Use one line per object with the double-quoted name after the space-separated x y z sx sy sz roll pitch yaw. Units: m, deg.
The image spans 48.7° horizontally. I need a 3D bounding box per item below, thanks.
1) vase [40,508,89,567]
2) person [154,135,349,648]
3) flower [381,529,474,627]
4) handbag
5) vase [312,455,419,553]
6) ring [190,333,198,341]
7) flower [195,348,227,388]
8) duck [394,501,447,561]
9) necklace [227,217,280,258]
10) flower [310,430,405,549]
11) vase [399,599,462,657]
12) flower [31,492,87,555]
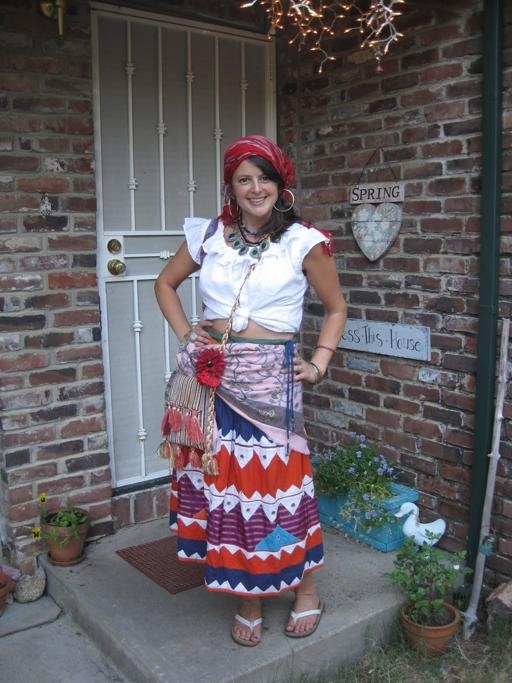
-0.788 0.819 2.354 0.199 0.165 0.188 0 2 7 "vase"
-0.025 0.180 1.781 0.662 1.547 0.503 -1 11 9 "person"
0.605 0.852 2.092 0.312 0.308 0.336 0 12 -3 "flower"
-0.193 0.213 1.705 0.058 0.313 0.253 1 7 -44 "handbag"
0.511 0.643 2.531 0.295 0.240 0.600 -11 16 -40 "vase"
-0.192 -0.015 1.735 0.022 0.010 0.026 7 30 -4 "ring"
-0.134 0.071 1.640 0.106 0.104 0.029 10 5 34 "flower"
0.678 0.768 2.334 0.192 0.187 0.212 -7 12 -27 "duck"
-0.018 -0.301 1.680 0.126 0.097 0.123 -5 12 -32 "necklace"
0.441 0.652 2.571 0.379 0.393 0.371 -6 12 -26 "flower"
0.635 1.028 2.014 0.241 0.153 0.220 1 4 0 "vase"
-0.785 0.725 2.376 0.265 0.240 0.265 1 0 1 "flower"
